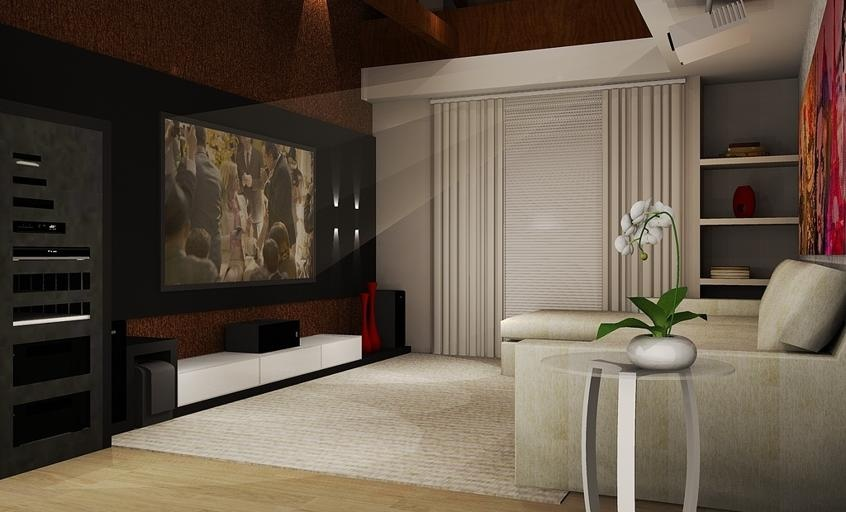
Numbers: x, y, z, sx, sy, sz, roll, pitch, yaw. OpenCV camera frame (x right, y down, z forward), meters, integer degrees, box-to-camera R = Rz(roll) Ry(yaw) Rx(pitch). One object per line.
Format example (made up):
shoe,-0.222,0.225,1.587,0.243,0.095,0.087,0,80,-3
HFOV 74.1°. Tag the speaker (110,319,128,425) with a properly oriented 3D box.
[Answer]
speaker,-2.408,0.923,4.434,0.148,0.832,0.070,-4,5,-43

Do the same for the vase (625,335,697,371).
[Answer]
vase,1.227,0.493,2.880,0.218,0.100,0.223,-1,0,33

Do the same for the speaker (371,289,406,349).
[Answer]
speaker,-0.442,0.844,7.457,0.384,0.777,0.175,-2,4,-17
